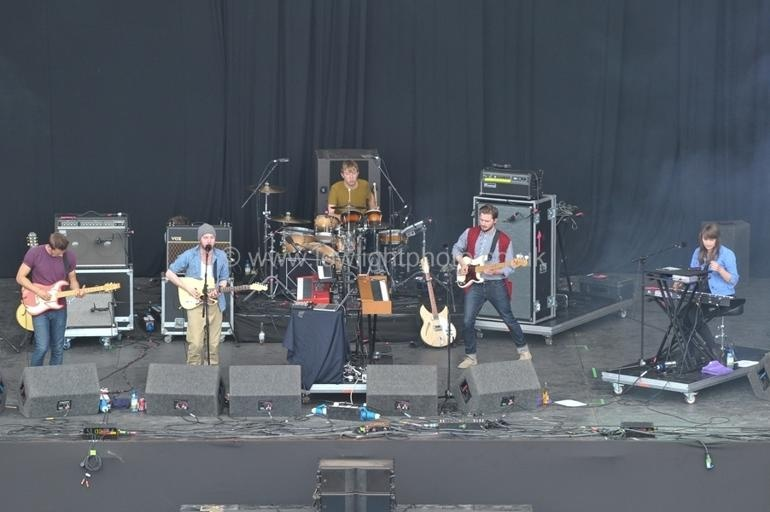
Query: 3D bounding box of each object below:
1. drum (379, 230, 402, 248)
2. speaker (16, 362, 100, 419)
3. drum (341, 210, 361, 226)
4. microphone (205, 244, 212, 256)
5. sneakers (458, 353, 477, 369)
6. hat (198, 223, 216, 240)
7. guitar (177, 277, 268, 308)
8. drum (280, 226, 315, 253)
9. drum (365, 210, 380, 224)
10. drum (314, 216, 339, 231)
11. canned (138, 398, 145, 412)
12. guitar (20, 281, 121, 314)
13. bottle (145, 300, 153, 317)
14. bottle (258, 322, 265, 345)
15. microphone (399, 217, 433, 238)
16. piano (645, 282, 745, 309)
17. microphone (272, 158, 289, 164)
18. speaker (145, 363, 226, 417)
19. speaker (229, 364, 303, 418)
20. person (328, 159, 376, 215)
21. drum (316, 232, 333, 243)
[{"bbox_3d":[0.087,-0.247,18.062,0.368,0.244,0.328,1,5,23],"label":"drum"},{"bbox_3d":[-3.572,1.491,14.513,0.799,0.489,0.625,1,13,-14],"label":"speaker"},{"bbox_3d":[-0.431,-0.509,17.582,0.210,0.106,0.209,0,6,0],"label":"drum"},{"bbox_3d":[-2.044,-0.083,15.306,0.084,0.086,0.103,0,-16,-2],"label":"microphone"},{"bbox_3d":[1.020,1.282,15.935,0.300,0.179,0.117,1,7,-2],"label":"sneakers"},{"bbox_3d":[-2.068,-0.291,15.429,0.198,0.202,0.264,-2,6,-26],"label":"hat"},{"bbox_3d":[-1.843,0.383,15.849,0.868,0.375,1.381,0,4,12],"label":"guitar"},{"bbox_3d":[-1.149,-0.214,17.467,0.386,0.248,0.362,0,0,0],"label":"drum"},{"bbox_3d":[-0.117,-0.522,17.723,0.202,0.132,0.197,0,6,0],"label":"drum"},{"bbox_3d":[-0.746,-0.431,17.404,0.250,0.138,0.233,1,2,0],"label":"drum"},{"bbox_3d":[-2.713,1.673,14.751,0.079,0.137,0.199,-3,5,-11],"label":"canned"},{"bbox_3d":[-3.781,0.462,15.423,0.714,0.368,0.912,2,6,36],"label":"guitar"},{"bbox_3d":[-3.114,0.697,17.418,0.143,0.215,0.055,-1,-1,5],"label":"bottle"},{"bbox_3d":[-1.571,0.984,16.947,0.090,0.270,0.041,-3,6,-14],"label":"bottle"},{"bbox_3d":[0.449,-0.407,18.928,0.201,0.185,0.656,5,-21,-31],"label":"microphone"},{"bbox_3d":[3.636,0.458,15.363,1.117,0.325,0.439,0,5,11],"label":"piano"},{"bbox_3d":[-1.498,-1.390,19.169,0.233,0.080,0.311,-1,4,-1],"label":"microphone"},{"bbox_3d":[-2.243,1.507,14.604,0.813,0.444,0.593,3,33,2],"label":"speaker"},{"bbox_3d":[-1.327,1.482,14.602,1.066,0.625,0.536,0,5,-1],"label":"speaker"},{"bbox_3d":[-0.449,-0.935,18.155,0.826,0.950,0.574,-2,16,-7],"label":"person"},{"bbox_3d":[-0.765,-0.234,17.343,0.237,0.159,0.135,-4,6,-26],"label":"drum"}]
